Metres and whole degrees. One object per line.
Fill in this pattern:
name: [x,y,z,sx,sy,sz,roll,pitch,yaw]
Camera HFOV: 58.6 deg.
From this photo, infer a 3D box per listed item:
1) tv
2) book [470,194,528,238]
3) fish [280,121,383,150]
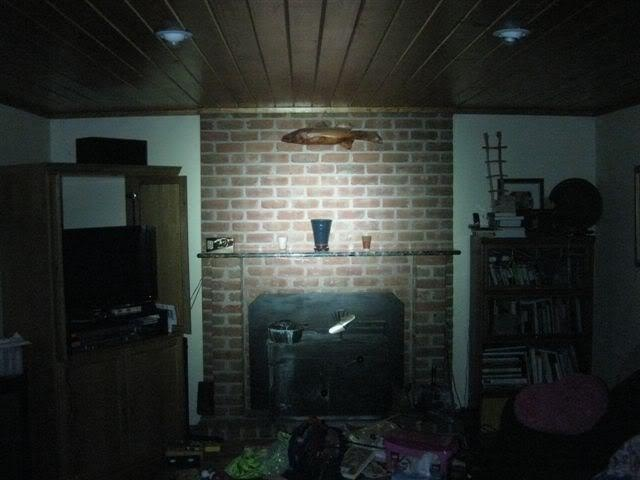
tv: [-1.497,0.239,4.019,0.248,0.586,0.762,-3,-3,41]
book: [1.466,-0.197,4.726,0.419,0.321,0.389,-1,3,8]
fish: [0.045,-0.660,3.676,0.474,0.109,0.552,-1,0,-35]
